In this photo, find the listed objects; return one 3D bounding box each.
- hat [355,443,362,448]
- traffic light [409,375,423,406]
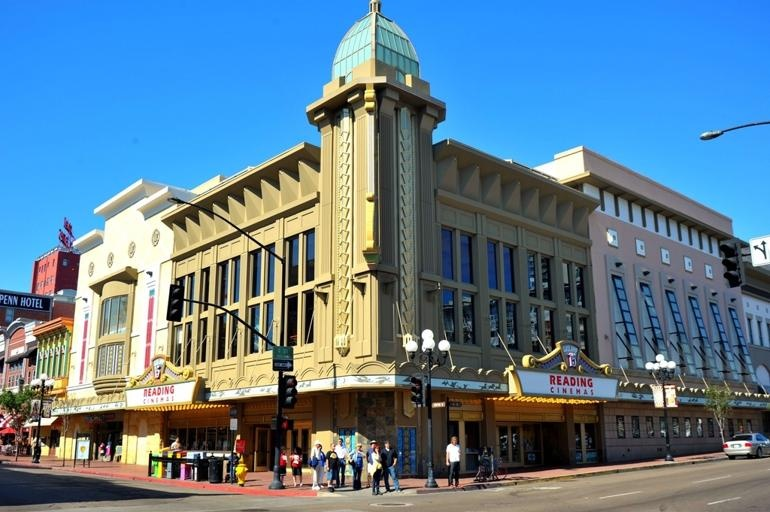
[{"bbox_3d":[-1.645,10.941,35.034,0.412,0.228,0.412,1,-1,-40],"label":"hat"},{"bbox_3d":[1.636,7.059,32.018,0.600,1.373,0.798,-2,-22,-1],"label":"traffic light"}]
